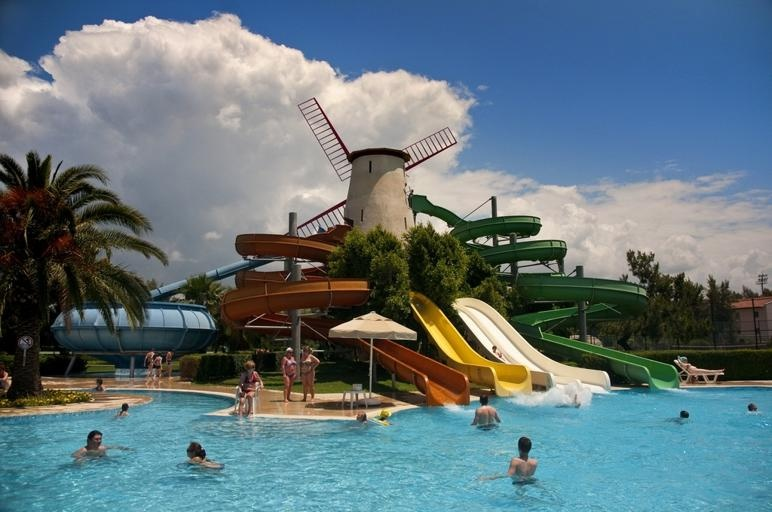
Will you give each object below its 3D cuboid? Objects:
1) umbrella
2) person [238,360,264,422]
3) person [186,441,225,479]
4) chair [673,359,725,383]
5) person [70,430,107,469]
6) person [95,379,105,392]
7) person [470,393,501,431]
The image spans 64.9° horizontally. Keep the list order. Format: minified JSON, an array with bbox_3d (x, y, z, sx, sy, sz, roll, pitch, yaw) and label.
[{"bbox_3d":[-0.541,3.850,24.233,3.555,3.056,3.328,3,-9,-12],"label":"umbrella"},{"bbox_3d":[-4.528,4.439,20.327,0.724,1.761,1.162,-1,-9,-13],"label":"person"},{"bbox_3d":[-4.575,5.093,15.355,1.222,0.723,0.535,-7,-10,27],"label":"person"},{"bbox_3d":[15.171,5.631,29.194,1.896,1.060,1.237,-4,-6,12],"label":"chair"},{"bbox_3d":[-7.677,5.018,16.085,0.531,0.679,1.416,-12,-11,29],"label":"person"},{"bbox_3d":[-12.584,5.705,26.873,0.372,0.553,1.105,1,-10,-26],"label":"person"},{"bbox_3d":[3.159,5.045,19.447,1.169,1.594,0.902,0,-1,0],"label":"person"}]
